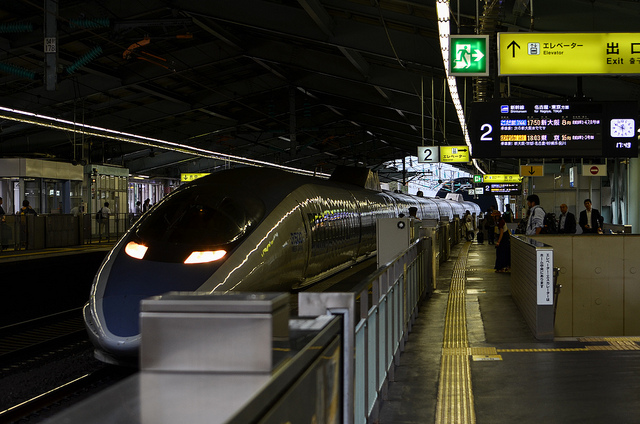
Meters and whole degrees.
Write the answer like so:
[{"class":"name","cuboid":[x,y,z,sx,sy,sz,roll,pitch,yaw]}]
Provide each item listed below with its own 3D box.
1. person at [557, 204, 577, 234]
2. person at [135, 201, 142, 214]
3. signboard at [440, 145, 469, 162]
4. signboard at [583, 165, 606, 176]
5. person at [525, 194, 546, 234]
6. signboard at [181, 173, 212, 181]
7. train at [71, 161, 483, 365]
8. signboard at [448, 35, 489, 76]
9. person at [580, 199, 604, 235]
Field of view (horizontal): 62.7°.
[{"class":"person","cuboid":[7.000,0.187,14.878,0.453,0.872,1.187,-3,8,24]},{"class":"person","cuboid":[-11.688,-0.289,33.983,0.391,0.991,0.785,-7,14,-25]},{"class":"signboard","cuboid":[5.616,-2.423,21.808,1.212,0.687,0.570,-6,8,2]},{"class":"signboard","cuboid":[11.568,-1.783,22.235,1.189,0.476,0.559,-11,9,-35]},{"class":"person","cuboid":[5.432,0.048,13.200,0.438,1.047,1.454,-4,8,22]},{"class":"signboard","cuboid":[-7.912,-2.180,32.727,1.247,0.413,7.095,-8,7,-15]},{"class":"train","cuboid":[-0.497,0.647,13.824,2.014,2.188,15.128,-9,0,15]},{"class":"signboard","cuboid":[3.022,-3.180,10.629,0.882,0.837,0.085,0,-8,-1]},{"class":"person","cuboid":[8.019,0.080,15.508,0.601,1.010,1.621,-3,8,27]}]
